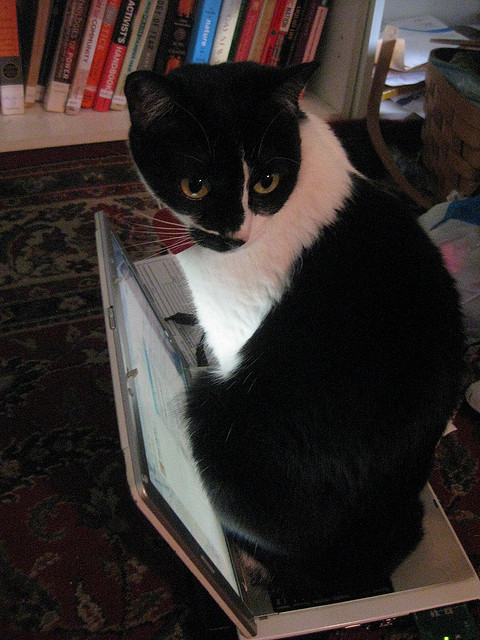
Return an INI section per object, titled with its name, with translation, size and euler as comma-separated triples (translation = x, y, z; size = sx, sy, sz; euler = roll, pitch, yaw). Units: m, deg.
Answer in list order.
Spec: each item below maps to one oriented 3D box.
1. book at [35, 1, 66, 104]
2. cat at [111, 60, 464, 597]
[book]
translation = -0.584, -0.843, 1.618
size = 0.030, 0.182, 0.158
euler = 7, 66, -15
[cat]
translation = 0.117, 0.021, 0.767
size = 0.392, 0.330, 0.684
euler = -11, 57, -19
